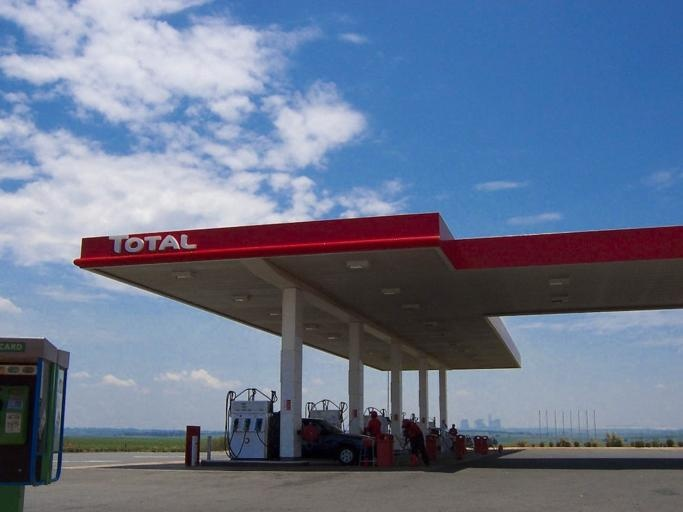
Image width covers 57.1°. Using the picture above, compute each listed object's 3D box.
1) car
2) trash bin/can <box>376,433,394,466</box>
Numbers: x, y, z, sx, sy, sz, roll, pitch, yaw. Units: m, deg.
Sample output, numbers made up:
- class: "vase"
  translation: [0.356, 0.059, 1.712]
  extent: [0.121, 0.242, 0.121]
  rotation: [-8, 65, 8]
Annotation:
- class: "car"
  translation: [-0.163, 6.364, 21.510]
  extent: [2.797, 1.382, 1.486]
  rotation: [-3, -9, 9]
- class: "trash bin/can"
  translation: [1.401, 6.160, 19.725]
  extent: [0.490, 0.962, 0.370]
  rotation: [2, -14, -7]
